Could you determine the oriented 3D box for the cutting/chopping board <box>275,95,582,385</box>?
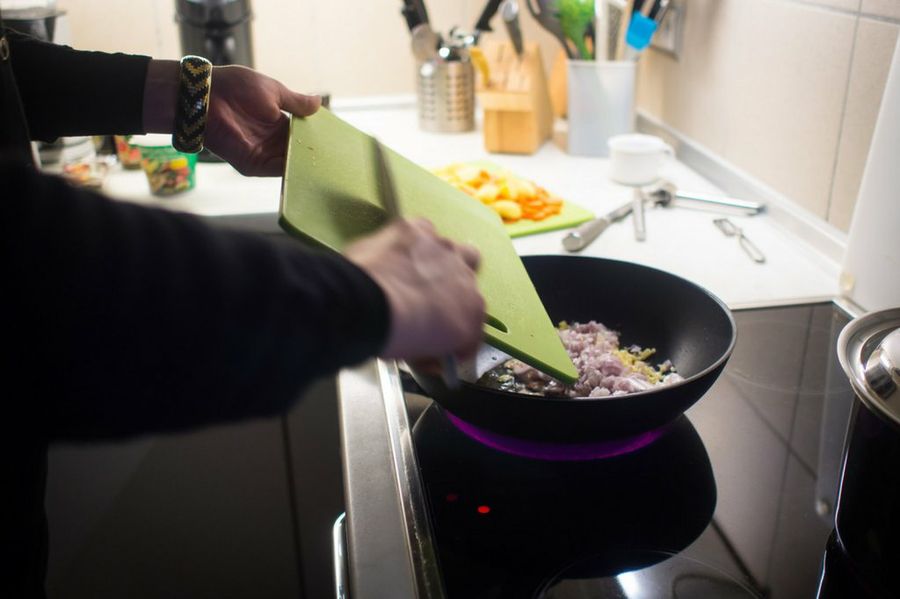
[{"bbox_3d":[-0.044,-0.071,0.751,0.253,0.016,0.386,-4,47,-49],"label":"cutting/chopping board"}]

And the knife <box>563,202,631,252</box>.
[{"bbox_3d":[0.249,-0.121,1.133,0.021,0.028,0.178,-26,-1,-12],"label":"knife"}]
